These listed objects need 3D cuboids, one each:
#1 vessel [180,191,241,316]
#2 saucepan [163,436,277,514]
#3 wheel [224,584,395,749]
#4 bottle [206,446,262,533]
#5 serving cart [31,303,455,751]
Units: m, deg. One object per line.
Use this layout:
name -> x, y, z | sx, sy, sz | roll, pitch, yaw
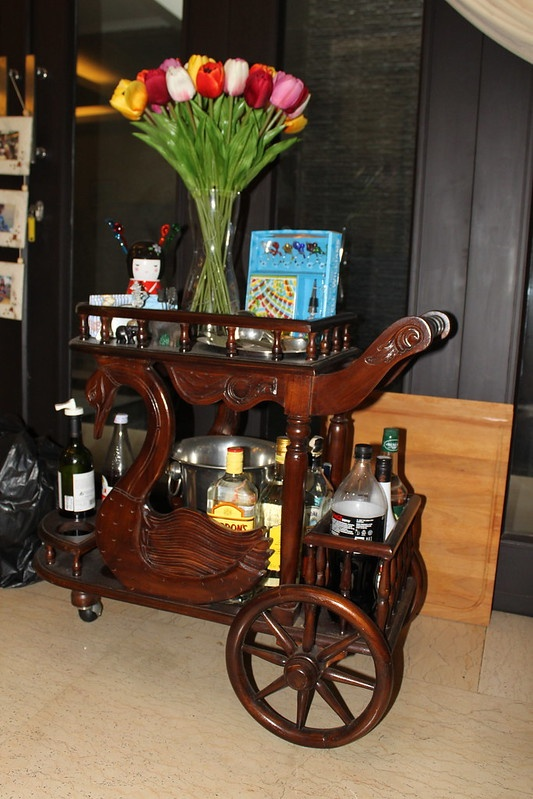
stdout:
vessel -> -0.099, -0.267, 1.204 | 0.103, 0.210, 0.148 | 2, 8, -7
saucepan -> -0.092, 0.134, 1.264 | 0.170, 0.119, 0.161 | 10, 21, 29
wheel -> 0.066, 0.419, 1.027 | 0.252, 0.253, 0.070 | 8, 16, 20
bottle -> -0.060, 0.176, 1.157 | 0.087, 0.198, 0.051 | 7, 20, 8
serving cart -> -0.080, 0.108, 1.359 | 0.841, 0.772, 0.548 | 7, 15, 19
